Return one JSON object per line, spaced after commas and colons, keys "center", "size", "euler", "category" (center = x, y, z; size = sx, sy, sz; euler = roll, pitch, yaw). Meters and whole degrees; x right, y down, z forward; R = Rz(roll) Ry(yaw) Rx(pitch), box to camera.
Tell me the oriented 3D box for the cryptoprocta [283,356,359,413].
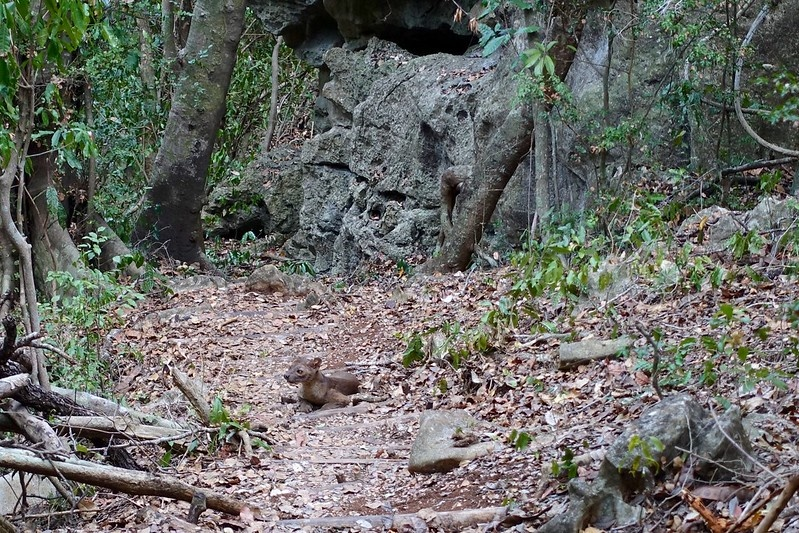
{"center": [-0.984, 1.512, 12.210], "size": [0.827, 0.587, 0.478], "euler": [15, 45, -36], "category": "cryptoprocta"}
